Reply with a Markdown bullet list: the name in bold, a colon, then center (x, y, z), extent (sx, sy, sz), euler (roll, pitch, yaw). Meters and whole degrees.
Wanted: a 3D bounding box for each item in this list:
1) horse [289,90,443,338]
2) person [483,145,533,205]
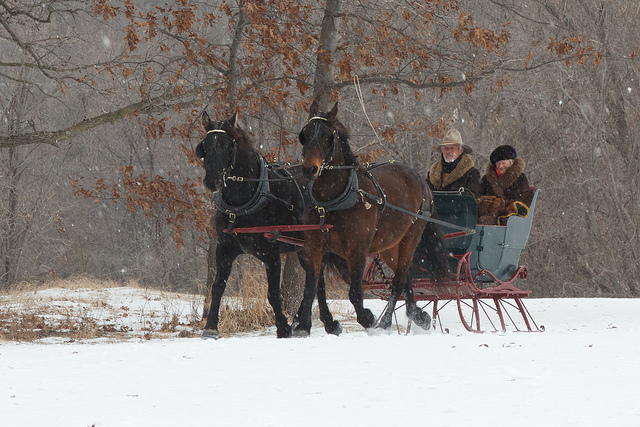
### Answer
- **horse**: center (1.040, 0.346, 22.541), extent (1.721, 4.811, 6.532), euler (0, -5, 29)
- **person**: center (4.440, -1.209, 24.221), extent (1.135, 0.460, 0.886), euler (-10, -37, 10)
